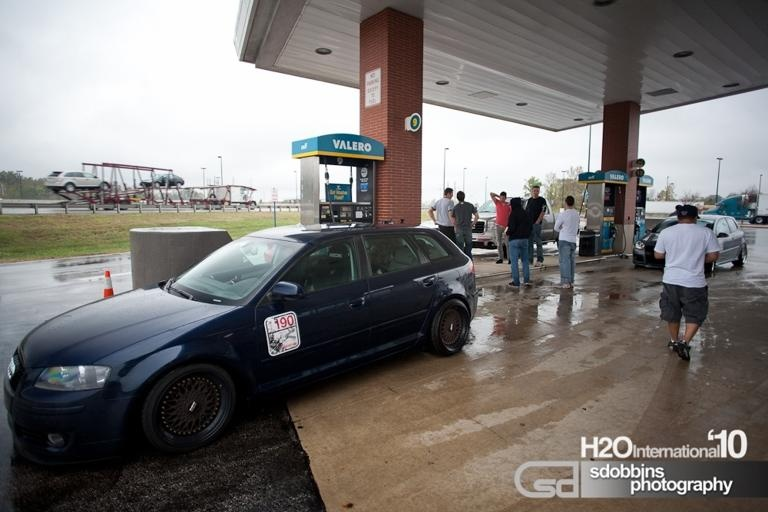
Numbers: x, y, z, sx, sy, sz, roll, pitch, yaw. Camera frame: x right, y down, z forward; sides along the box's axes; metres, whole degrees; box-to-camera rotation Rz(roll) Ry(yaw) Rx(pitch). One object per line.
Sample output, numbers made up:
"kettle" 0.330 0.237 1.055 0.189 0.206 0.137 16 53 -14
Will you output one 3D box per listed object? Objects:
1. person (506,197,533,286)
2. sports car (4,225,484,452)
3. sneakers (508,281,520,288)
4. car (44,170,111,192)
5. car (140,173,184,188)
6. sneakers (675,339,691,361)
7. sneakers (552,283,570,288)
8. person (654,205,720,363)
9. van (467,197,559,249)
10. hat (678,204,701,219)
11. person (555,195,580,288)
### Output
"person" 3.522 -0.356 11.014 0.591 2.240 1.472 1 9 18
"sports car" -1.256 0.759 5.707 5.702 1.616 2.490 -3 3 -35
"sneakers" 3.274 0.776 10.673 0.130 0.103 0.256 0 -4 -9
"car" -23.754 -5.509 32.446 1.058 1.589 3.499 1 8 14
"car" -21.010 -7.001 40.095 0.692 1.420 4.747 1 8 15
"sneakers" 4.389 1.411 6.205 0.144 0.352 0.159 9 57 48
"sneakers" 4.440 0.807 10.542 0.435 0.159 0.148 4 6 27
"person" 4.522 0.382 6.372 0.692 2.241 0.695 -6 10 -30
"van" 5.919 -0.971 18.005 5.876 2.220 2.597 2 -2 -43
"hat" 4.536 -0.636 6.299 0.245 0.211 0.377 4 9 32
"person" 4.639 -0.339 10.722 0.512 2.257 1.169 2 9 23
